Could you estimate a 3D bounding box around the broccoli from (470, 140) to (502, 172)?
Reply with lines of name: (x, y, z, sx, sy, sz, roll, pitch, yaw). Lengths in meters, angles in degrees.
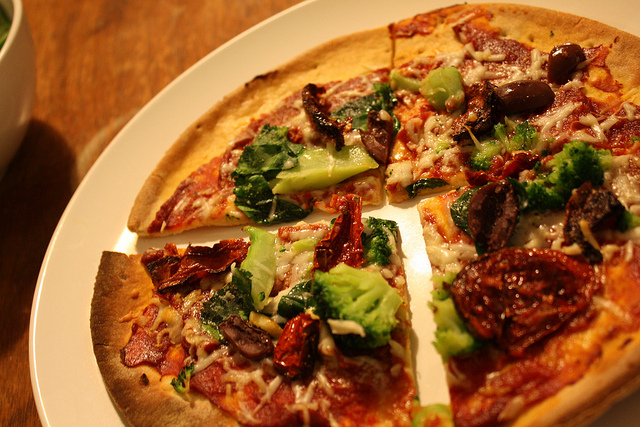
broccoli: (1.638, -0.579, 5.650, 0.328, 0.076, 0.199, -53, 42, 1)
